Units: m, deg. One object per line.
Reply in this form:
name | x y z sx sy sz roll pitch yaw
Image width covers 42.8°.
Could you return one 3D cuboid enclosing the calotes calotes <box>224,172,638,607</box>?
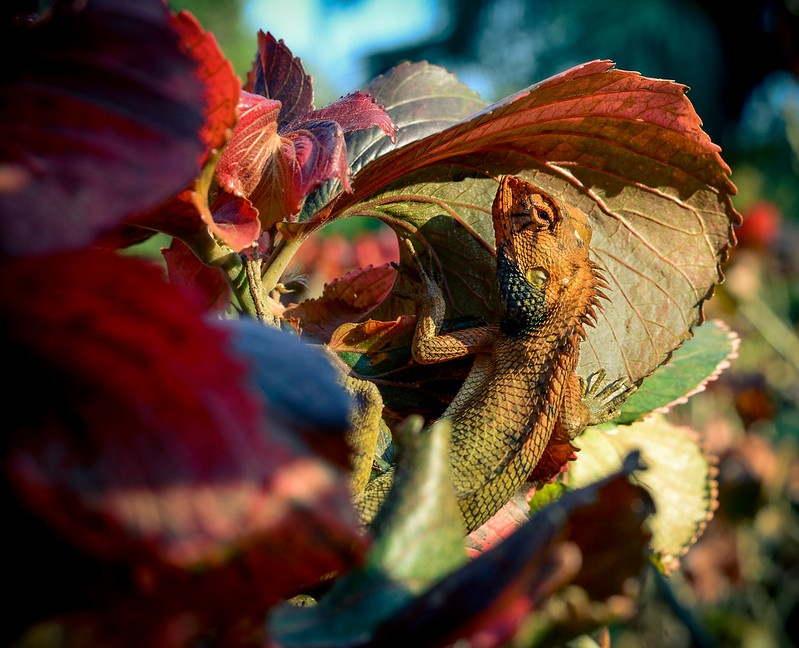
calotes calotes | 0.087 0.093 1.533 0.418 0.192 0.583 35 59 -36
